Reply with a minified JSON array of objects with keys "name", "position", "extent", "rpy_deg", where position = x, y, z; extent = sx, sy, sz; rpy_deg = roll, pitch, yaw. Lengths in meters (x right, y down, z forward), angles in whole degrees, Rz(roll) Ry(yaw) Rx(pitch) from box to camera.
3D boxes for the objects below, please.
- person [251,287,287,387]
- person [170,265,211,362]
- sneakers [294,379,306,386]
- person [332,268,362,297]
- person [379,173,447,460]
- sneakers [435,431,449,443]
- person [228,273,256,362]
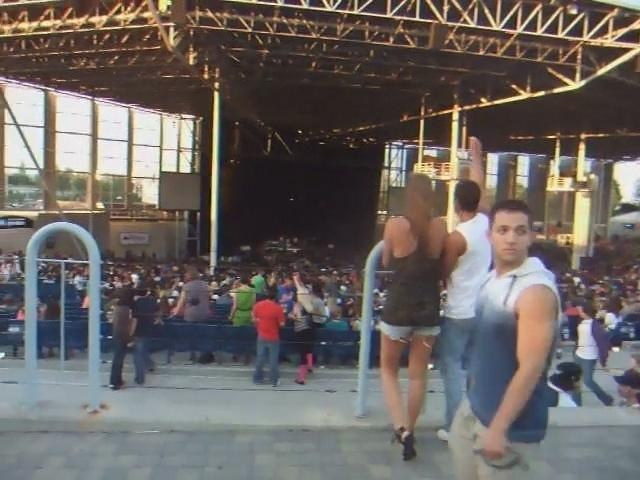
[{"name":"person","position":[-0.820,1.523,12.094],"extent":[0.511,1.203,1.598],"rpy_deg":[-2,3,-5]},{"name":"person","position":[-2.222,1.300,13.363],"extent":[0.705,1.685,0.539],"rpy_deg":[-10,18,-37]},{"name":"sneakers","position":[-0.306,2.147,11.284],"extent":[0.057,0.079,0.183],"rpy_deg":[9,0,-33]},{"name":"person","position":[0.523,0.821,15.786],"extent":[0.318,0.444,0.996],"rpy_deg":[29,-3,-32]},{"name":"person","position":[1.118,0.915,9.034],"extent":[0.813,3.409,0.437],"rpy_deg":[-1,3,4]},{"name":"sneakers","position":[1.498,2.404,9.188],"extent":[0.159,0.059,0.214],"rpy_deg":[-11,18,-6]},{"name":"person","position":[-1.384,1.369,13.314],"extent":[0.459,1.383,1.466],"rpy_deg":[-2,3,-7]}]
